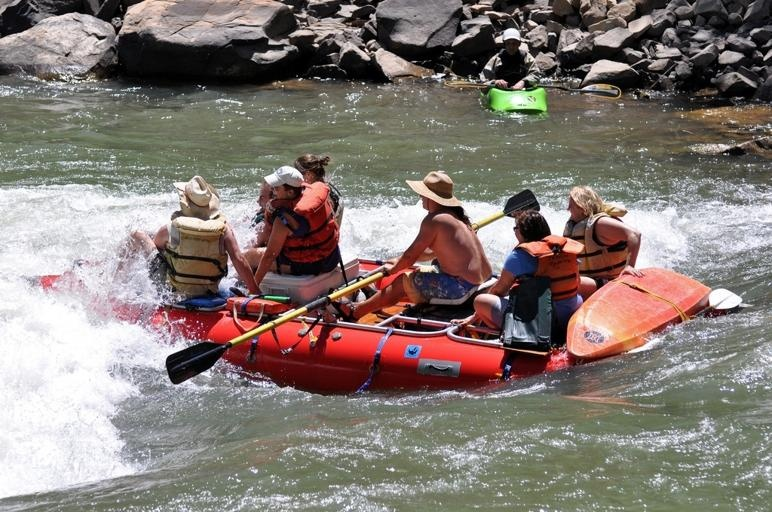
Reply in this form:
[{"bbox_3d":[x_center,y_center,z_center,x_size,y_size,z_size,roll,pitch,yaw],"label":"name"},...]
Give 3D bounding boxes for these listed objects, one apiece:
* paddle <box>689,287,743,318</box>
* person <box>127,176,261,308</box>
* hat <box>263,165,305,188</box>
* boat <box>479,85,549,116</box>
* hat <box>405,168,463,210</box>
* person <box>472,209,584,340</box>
[{"bbox_3d":[3.396,0.483,7.736,0.502,0.064,0.238,-29,52,-26],"label":"paddle"},{"bbox_3d":[-1.968,-0.179,8.193,1.047,1.090,1.524,-17,31,-28],"label":"person"},{"bbox_3d":[-1.027,-0.811,7.796,0.371,0.124,0.213,0,22,-2],"label":"hat"},{"bbox_3d":[2.589,-3.094,15.184,1.180,0.469,0.700,3,17,6],"label":"boat"},{"bbox_3d":[0.450,-0.660,7.702,0.559,0.203,0.433,27,26,12],"label":"hat"},{"bbox_3d":[1.396,0.193,7.397,1.027,1.199,0.527,5,19,12],"label":"person"}]
